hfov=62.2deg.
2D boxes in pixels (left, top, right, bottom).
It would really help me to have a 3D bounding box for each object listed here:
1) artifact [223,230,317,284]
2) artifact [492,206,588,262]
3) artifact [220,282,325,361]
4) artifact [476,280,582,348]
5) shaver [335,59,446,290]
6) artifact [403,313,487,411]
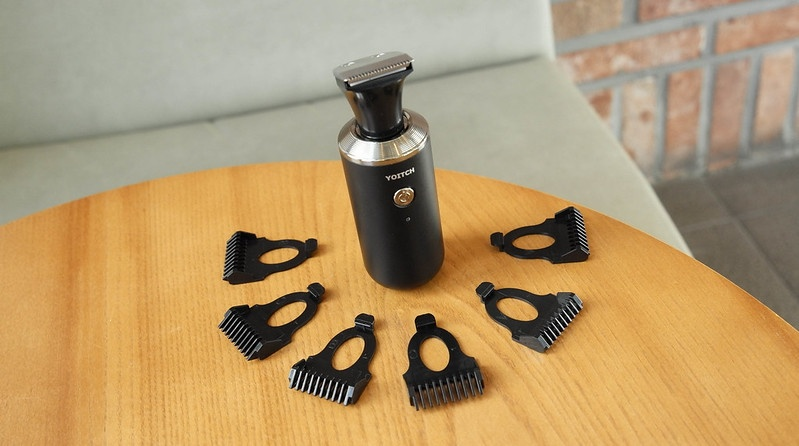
[{"bbox_3d":[-0.281,0.071,1.447,0.190,0.105,0.045,-5,-35,1],"label":"artifact"},{"bbox_3d":[0.308,0.029,1.421,0.170,0.120,0.044,-6,-43,3],"label":"artifact"},{"bbox_3d":[-0.257,0.202,1.392,0.214,0.122,0.044,-32,-29,-20],"label":"artifact"},{"bbox_3d":[0.259,0.173,1.378,0.150,0.210,0.046,-36,-46,-32],"label":"artifact"},{"bbox_3d":[-0.017,-0.093,1.339,0.195,0.404,0.312,-16,-18,-4],"label":"shaver"},{"bbox_3d":[0.077,0.275,1.338,0.151,0.196,0.045,-10,-41,-9],"label":"artifact"}]
